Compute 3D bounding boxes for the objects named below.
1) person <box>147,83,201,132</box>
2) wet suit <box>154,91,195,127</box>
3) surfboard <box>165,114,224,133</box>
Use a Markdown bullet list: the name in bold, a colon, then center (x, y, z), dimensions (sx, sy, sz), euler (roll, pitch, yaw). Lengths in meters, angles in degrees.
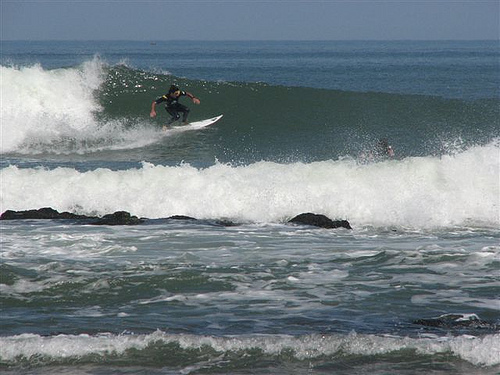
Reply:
- **person**: center (-2.312, -2.379, 28.109), dimensions (1.552, 1.479, 0.773), euler (-23, 42, -24)
- **wet suit**: center (-2.290, -2.378, 28.373), dimensions (0.972, 1.234, 1.854), euler (4, 15, -3)
- **surfboard**: center (-1.488, -1.987, 29.335), dimensions (0.498, 0.266, 2.731), euler (29, 28, 31)
